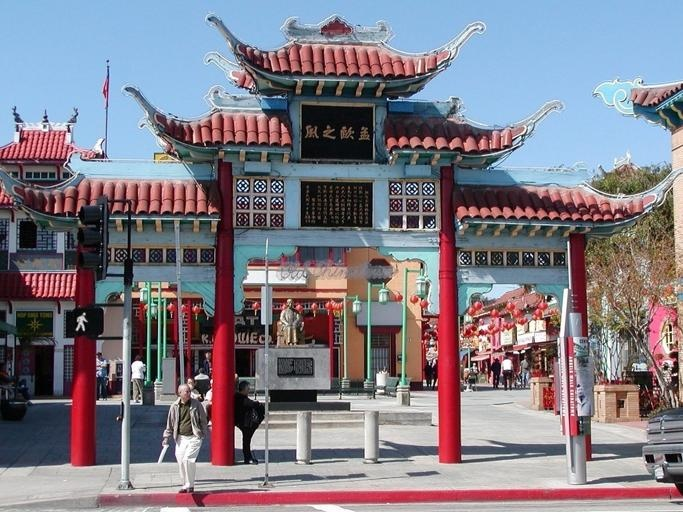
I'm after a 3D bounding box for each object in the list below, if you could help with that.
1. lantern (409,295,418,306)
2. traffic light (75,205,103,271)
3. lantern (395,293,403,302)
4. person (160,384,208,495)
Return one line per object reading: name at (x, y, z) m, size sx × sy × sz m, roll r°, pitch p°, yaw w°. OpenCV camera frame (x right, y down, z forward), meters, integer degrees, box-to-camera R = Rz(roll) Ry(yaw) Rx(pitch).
lantern at (3.062, 1.833, 50.538) m, size 0.424 × 0.501 × 0.437 m, roll -1°, pitch -8°, yaw 0°
traffic light at (-5.927, -0.482, 28.372) m, size 0.572 × 1.635 × 0.707 m, roll 4°, pitch -3°, yaw -23°
lantern at (2.467, 1.811, 52.077) m, size 0.319 × 0.380 × 0.386 m, roll -1°, pitch 1°, yaw 1°
person at (-3.723, 4.282, 28.407) m, size 0.964 × 2.510 × 0.855 m, roll 2°, pitch -8°, yaw -19°
